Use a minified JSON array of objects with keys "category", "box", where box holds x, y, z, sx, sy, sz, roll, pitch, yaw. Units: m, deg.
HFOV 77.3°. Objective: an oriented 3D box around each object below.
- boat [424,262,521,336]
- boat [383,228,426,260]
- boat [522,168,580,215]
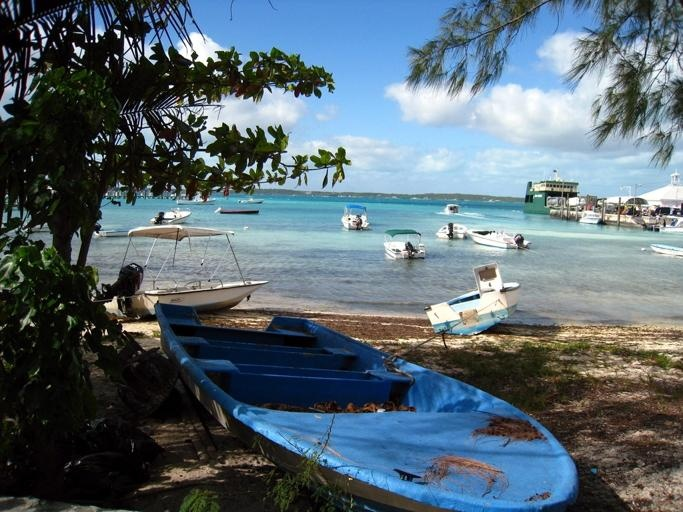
[{"category":"boat","box":[4.023,1.242,12.713,3.017,1.751,2.069,-7,2,21]},{"category":"boat","box":[4.898,-0.990,34.079,2.713,1.440,5.352,-1,9,-6]},{"category":"boat","box":[51.402,-14.377,104.460,6.106,8.612,13.565,0,9,-8]}]
